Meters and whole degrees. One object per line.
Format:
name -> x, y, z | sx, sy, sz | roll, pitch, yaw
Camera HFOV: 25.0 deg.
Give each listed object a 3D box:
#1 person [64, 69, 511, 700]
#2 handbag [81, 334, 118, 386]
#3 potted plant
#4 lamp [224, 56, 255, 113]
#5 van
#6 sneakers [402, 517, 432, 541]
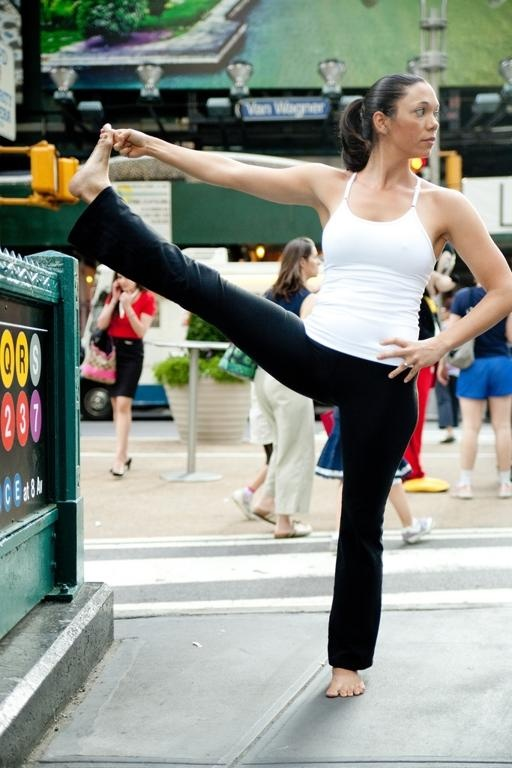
person -> 0.152, -0.019, 3.525 | 1.200, 1.794, 0.399 | 0, 3, -1
handbag -> -1.082, -0.200, 8.352 | 0.266, 0.368, 0.146 | 12, 16, 12
potted plant -> -0.580, 0.003, 10.805 | 1.040, 0.847, 1.188 | 2, 2, 45
lamp -> -0.281, -5.312, 20.089 | 0.636, 1.073, 0.430 | 1, -21, 3
van -> -1.015, -0.639, 13.605 | 3.141, 1.823, 1.574 | 2, -1, -3
sneakers -> 0.834, 0.747, 5.908 | 0.076, 0.090, 0.195 | -29, -3, 42
